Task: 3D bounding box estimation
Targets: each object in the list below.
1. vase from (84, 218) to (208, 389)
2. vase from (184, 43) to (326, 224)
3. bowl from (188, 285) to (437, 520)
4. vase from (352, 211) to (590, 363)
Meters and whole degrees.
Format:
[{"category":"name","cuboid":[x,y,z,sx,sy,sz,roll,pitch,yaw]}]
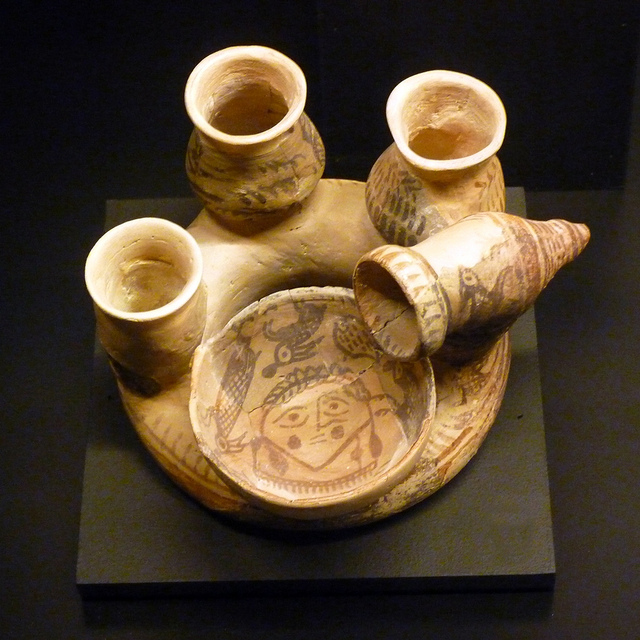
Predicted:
[{"category":"vase","cuboid":[-0.242,-0.003,1.159,0.190,0.247,0.161,-13,55,-13]},{"category":"vase","cuboid":[-0.100,-0.268,1.201,0.225,0.245,0.202,-29,66,-12]},{"category":"bowl","cuboid":[-0.015,0.121,1.155,0.383,0.158,0.320,-5,78,-2]},{"category":"vase","cuboid":[0.233,-0.069,1.028,0.359,0.130,0.157,-22,27,-25]}]
